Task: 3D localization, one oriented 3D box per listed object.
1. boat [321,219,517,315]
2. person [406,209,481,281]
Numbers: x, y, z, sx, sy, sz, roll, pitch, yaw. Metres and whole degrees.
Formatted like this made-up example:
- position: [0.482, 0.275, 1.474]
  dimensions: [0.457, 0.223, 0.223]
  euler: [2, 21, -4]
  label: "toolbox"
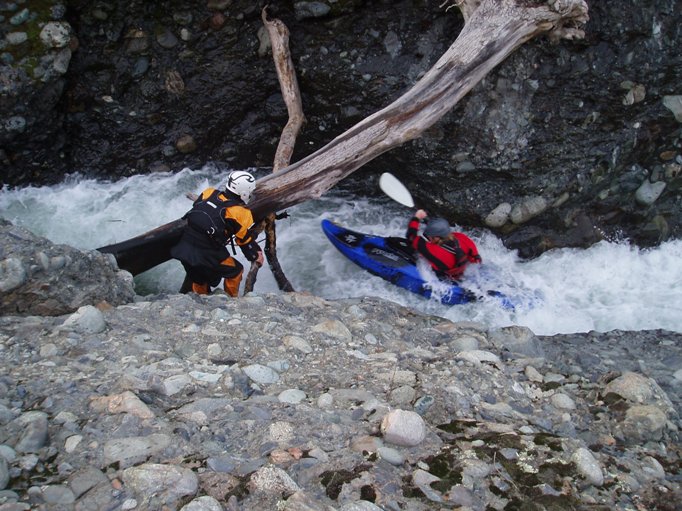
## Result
- position: [0.916, 0.075, 9.090]
  dimensions: [3.605, 0.698, 1.026]
  euler: [24, 49, 11]
  label: "boat"
- position: [1.591, -0.129, 8.716]
  dimensions: [0.655, 1.068, 0.824]
  euler: [-29, 86, 0]
  label: "person"
